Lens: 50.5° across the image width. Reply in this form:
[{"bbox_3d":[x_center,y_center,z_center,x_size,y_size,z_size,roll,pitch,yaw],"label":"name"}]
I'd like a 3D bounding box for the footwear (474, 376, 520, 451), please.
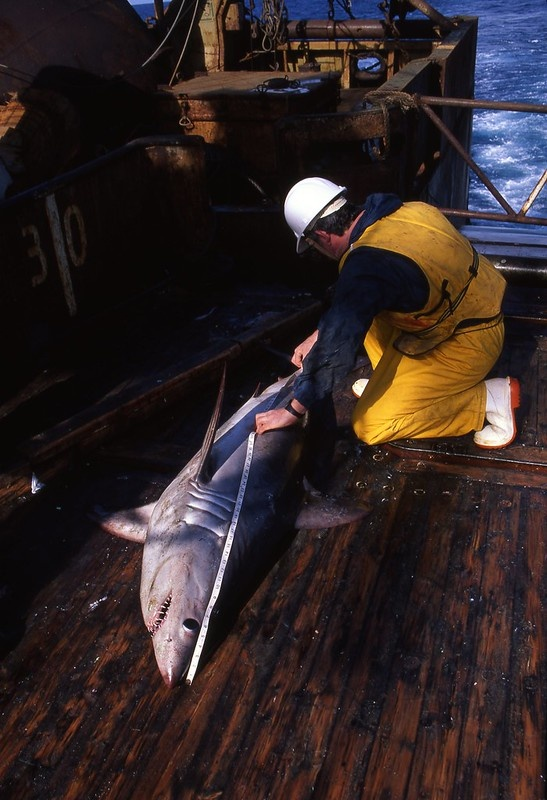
[{"bbox_3d":[1.331,0.104,3.521,0.214,0.287,0.613,0,21,26],"label":"footwear"}]

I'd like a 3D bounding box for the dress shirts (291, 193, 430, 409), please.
[{"bbox_3d":[0.407,-0.341,2.750,0.697,0.689,0.294,-29,38,-31],"label":"dress shirts"}]

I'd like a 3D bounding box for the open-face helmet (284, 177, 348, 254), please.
[{"bbox_3d":[0.185,-1.031,3.234,0.262,0.412,0.319,36,75,7],"label":"open-face helmet"}]

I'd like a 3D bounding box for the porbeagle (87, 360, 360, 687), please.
[{"bbox_3d":[-0.140,0.370,3.114,0.712,0.526,2.192,33,32,-7],"label":"porbeagle"}]

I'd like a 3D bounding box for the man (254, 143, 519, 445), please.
[{"bbox_3d":[0.564,-0.430,3.276,1.302,1.622,1.371,9,35,39],"label":"man"}]

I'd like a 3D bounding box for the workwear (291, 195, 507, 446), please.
[{"bbox_3d":[0.787,-0.502,3.508,1.161,1.318,1.060,12,38,31],"label":"workwear"}]
